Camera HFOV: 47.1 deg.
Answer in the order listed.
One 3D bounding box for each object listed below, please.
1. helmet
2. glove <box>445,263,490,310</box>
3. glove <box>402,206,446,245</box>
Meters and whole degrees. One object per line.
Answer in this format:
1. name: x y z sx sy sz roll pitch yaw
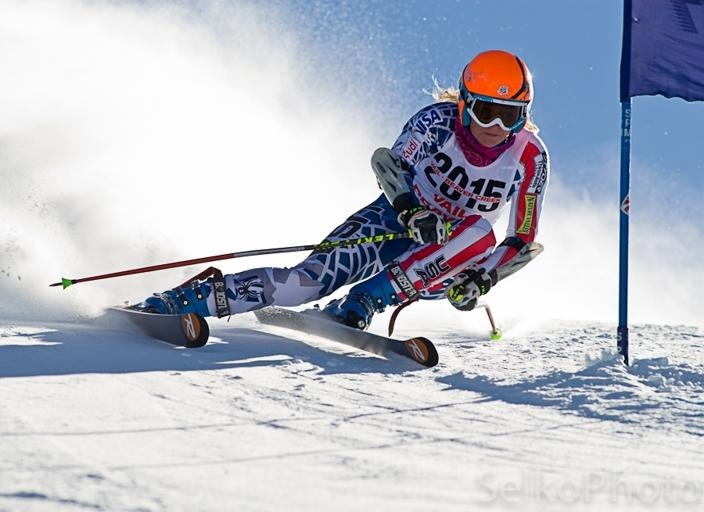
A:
1. helmet: 0.950 -1.087 5.320 0.392 0.428 0.391 4 3 -27
2. glove: 0.806 0.226 5.453 0.268 0.232 0.236 6 3 23
3. glove: 0.467 -0.216 5.279 0.208 0.261 0.131 -17 -37 -28
